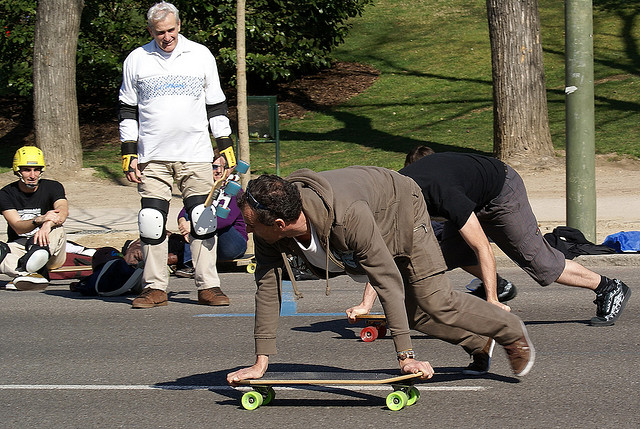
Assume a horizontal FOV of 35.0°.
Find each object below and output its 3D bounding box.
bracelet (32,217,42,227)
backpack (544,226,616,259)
[{"bbox_3d":[-3.842,0.100,13.818,0.076,0.130,0.077,1,4,24],"label":"bracelet"},{"bbox_3d":[3.756,0.413,14.661,0.983,0.247,0.622,3,-2,-3],"label":"backpack"}]
